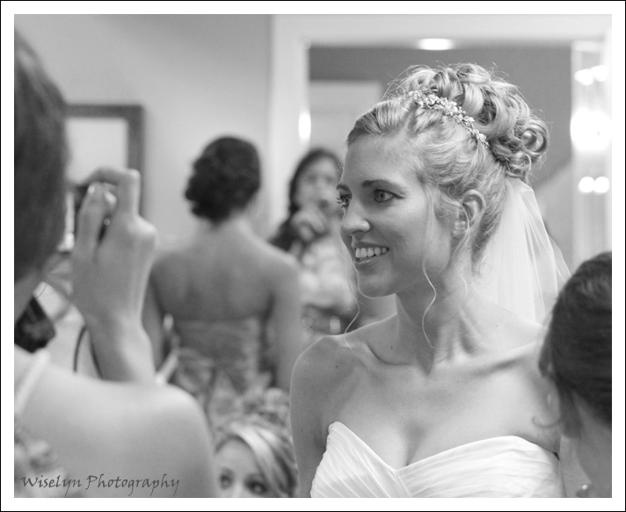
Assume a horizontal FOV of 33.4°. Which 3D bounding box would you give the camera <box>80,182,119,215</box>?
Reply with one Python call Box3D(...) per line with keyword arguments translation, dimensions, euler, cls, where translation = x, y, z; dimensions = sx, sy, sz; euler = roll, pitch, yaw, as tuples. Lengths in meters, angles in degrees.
Box3D(translation=(-0.833, -0.234, 4.066), dimensions=(0.104, 0.114, 0.053), euler=(11, 11, -1), cls="camera")
